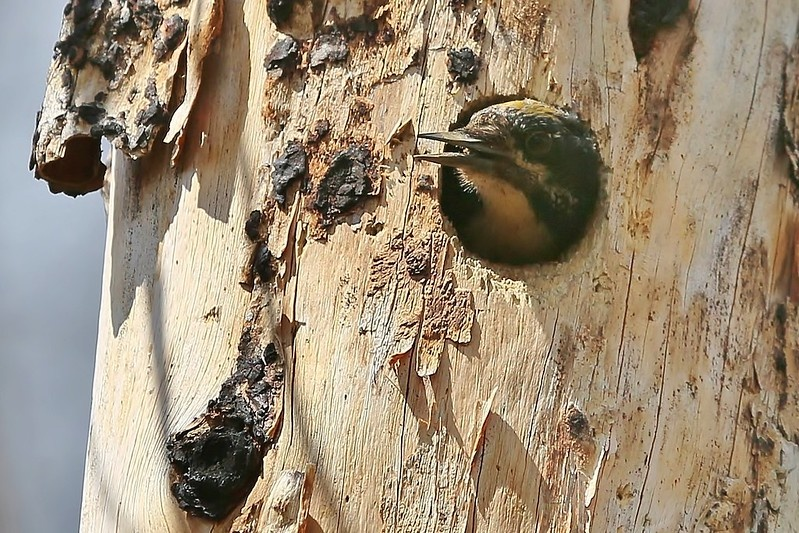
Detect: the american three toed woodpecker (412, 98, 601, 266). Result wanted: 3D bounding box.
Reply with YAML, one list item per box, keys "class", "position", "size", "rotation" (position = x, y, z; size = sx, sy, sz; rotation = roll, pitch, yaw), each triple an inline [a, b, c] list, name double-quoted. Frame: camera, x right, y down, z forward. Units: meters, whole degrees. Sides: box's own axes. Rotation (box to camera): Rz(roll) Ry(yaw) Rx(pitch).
- class: "american three toed woodpecker"
  position: [0.390, -0.289, 6.055]
  size: [0.480, 0.585, 0.680]
  rotation: [2, -2, 8]
